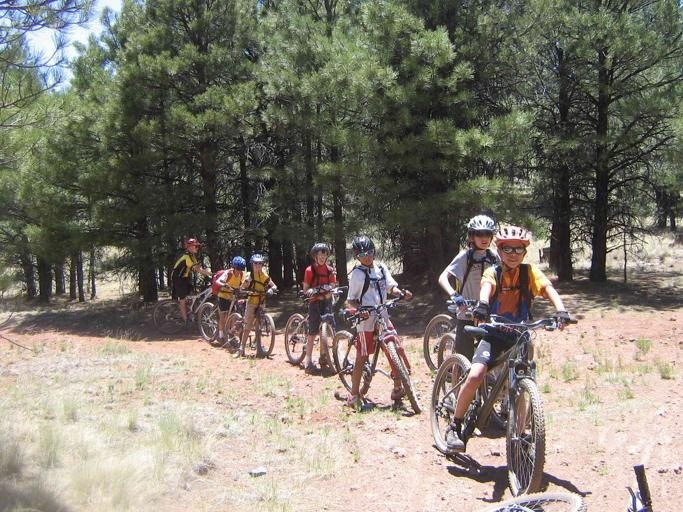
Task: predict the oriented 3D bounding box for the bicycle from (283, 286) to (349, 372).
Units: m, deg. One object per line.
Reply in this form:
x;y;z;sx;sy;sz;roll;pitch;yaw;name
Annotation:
-0.255;1.740;15.154;1.060;1.634;2.215;7;-12;-32;bicycle

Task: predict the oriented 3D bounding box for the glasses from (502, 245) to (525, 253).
2.606;-0.096;10.206;0.343;0.127;0.058;1;11;7;glasses

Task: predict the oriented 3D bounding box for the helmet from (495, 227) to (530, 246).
2.618;-0.314;10.305;0.501;0.287;0.390;3;12;12;helmet

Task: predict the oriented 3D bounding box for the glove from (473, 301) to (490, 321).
2.134;0.825;10.091;0.156;0.307;0.384;10;16;41;glove

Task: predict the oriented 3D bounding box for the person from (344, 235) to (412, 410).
0.626;1.245;12.503;1.009;3.183;1.053;-2;11;-9;person

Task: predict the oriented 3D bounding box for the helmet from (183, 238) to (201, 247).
-3.974;-0.367;17.846;0.265;0.116;0.213;7;9;20;helmet
